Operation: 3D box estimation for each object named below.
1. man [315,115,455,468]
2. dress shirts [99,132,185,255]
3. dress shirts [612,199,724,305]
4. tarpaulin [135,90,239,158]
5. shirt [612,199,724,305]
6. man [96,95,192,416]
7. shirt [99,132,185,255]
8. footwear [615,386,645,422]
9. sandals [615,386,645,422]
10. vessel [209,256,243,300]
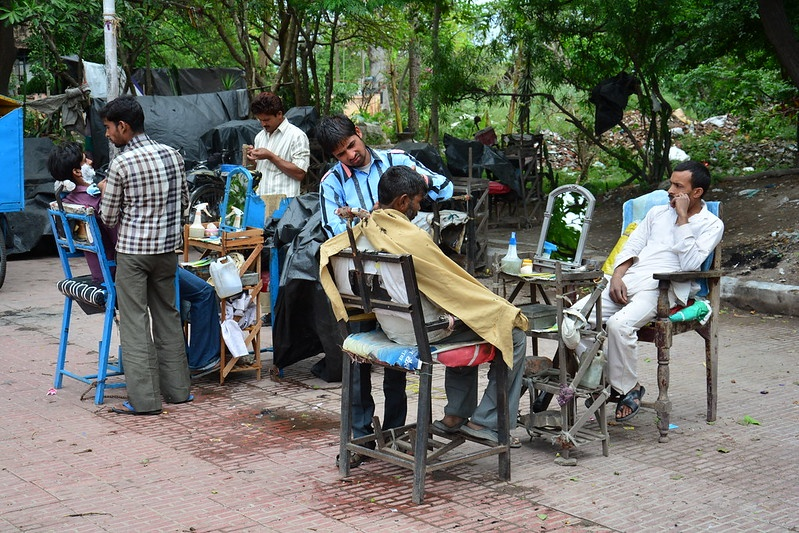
[{"bbox_3d":[-0.069,0.235,6.233,1.100,2.865,0.993,-7,16,-25],"label":"man"},{"bbox_3d":[-2.393,-0.661,6.737,0.649,0.986,0.843,12,17,39],"label":"dress shirts"},{"bbox_3d":[2.353,-0.069,6.544,0.871,1.043,0.642,15,13,39],"label":"dress shirts"},{"bbox_3d":[-4.260,-2.901,15.660,2.083,0.732,1.520,-1,23,-20],"label":"tarpaulin"},{"bbox_3d":[2.342,-0.109,6.431,0.541,0.880,0.702,8,20,-43],"label":"shirt"},{"bbox_3d":[-2.419,-0.123,6.909,0.895,2.736,0.990,12,11,42],"label":"man"},{"bbox_3d":[-2.397,-0.676,6.742,0.658,1.006,0.836,11,17,33],"label":"shirt"},{"bbox_3d":[2.000,1.148,6.408,0.193,0.149,0.510,0,26,34],"label":"footwear"},{"bbox_3d":[2.004,1.151,6.399,0.184,0.139,0.487,-2,27,39],"label":"sandals"},{"bbox_3d":[-1.659,0.122,7.136,0.312,0.439,0.236,-3,10,-20],"label":"vessel"}]
